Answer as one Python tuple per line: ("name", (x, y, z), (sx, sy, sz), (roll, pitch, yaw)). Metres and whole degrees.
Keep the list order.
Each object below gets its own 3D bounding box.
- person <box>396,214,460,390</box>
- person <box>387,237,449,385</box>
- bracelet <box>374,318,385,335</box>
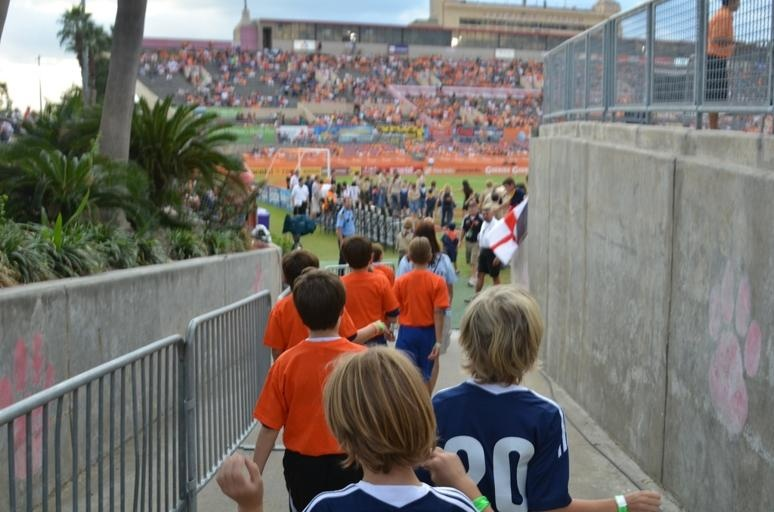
("person", (0.373, 0.921, 10.629), (0.680, 2.591, 0.704), (5, 18, 5))
("person", (0.371, 0.767, 9.400), (0.622, 2.303, 0.669), (4, 27, 7))
("bracelet", (-0.066, 0.687, 8.117), (0.090, 0.120, 0.117), (-5, -41, 30))
